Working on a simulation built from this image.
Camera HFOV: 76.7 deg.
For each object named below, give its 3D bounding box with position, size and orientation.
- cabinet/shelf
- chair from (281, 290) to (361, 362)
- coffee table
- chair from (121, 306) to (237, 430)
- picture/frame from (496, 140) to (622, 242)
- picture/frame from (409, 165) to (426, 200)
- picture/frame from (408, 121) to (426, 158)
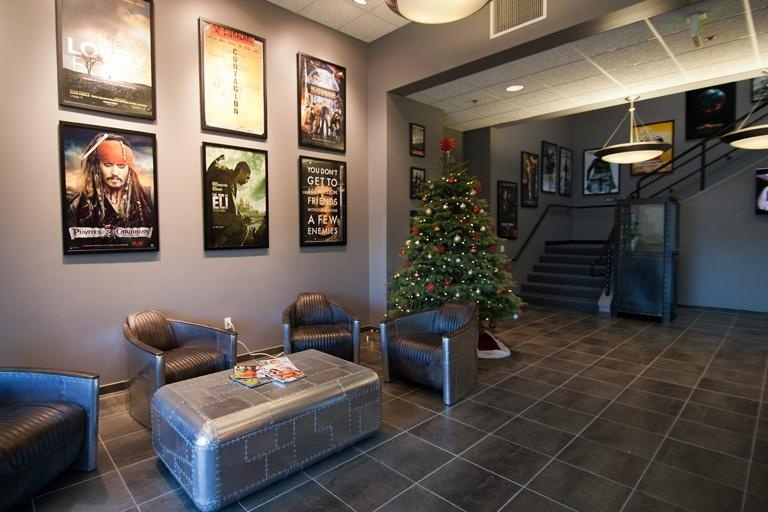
[{"bbox_3d":[4.822,0.045,9.019,0.980,2.225,0.271,4,9,39],"label":"cabinet/shelf"},{"bbox_3d":[-0.897,0.935,6.756,0.909,0.889,0.986,1,-8,-16],"label":"chair"},{"bbox_3d":[-1.393,1.354,4.935,1.874,0.752,1.289,-7,7,-42],"label":"coffee table"},{"bbox_3d":[-2.529,1.277,6.150,1.371,1.225,1.325,-1,-1,43],"label":"chair"},{"bbox_3d":[4.247,-1.478,11.469,1.281,2.970,4.174,5,9,44],"label":"picture/frame"},{"bbox_3d":[0.600,-1.283,8.533,0.093,0.571,0.435,3,8,36],"label":"picture/frame"},{"bbox_3d":[0.597,-2.025,8.497,0.077,0.585,0.455,5,9,43],"label":"picture/frame"}]
